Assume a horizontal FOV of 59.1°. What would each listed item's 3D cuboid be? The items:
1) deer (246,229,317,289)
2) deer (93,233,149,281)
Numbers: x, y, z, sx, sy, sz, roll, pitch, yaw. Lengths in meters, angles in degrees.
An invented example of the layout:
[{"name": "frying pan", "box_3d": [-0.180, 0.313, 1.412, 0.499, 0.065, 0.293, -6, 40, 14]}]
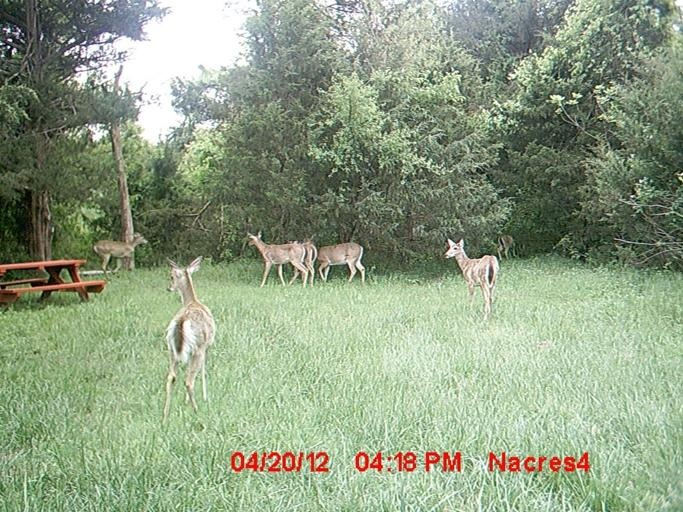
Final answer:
[{"name": "deer", "box_3d": [-1.777, 0.256, 17.617, 1.684, 1.571, 3.556, -4, 13, -10]}, {"name": "deer", "box_3d": [-7.965, -0.015, 21.212, 0.957, 1.587, 1.959, 1, 2, 31]}]
